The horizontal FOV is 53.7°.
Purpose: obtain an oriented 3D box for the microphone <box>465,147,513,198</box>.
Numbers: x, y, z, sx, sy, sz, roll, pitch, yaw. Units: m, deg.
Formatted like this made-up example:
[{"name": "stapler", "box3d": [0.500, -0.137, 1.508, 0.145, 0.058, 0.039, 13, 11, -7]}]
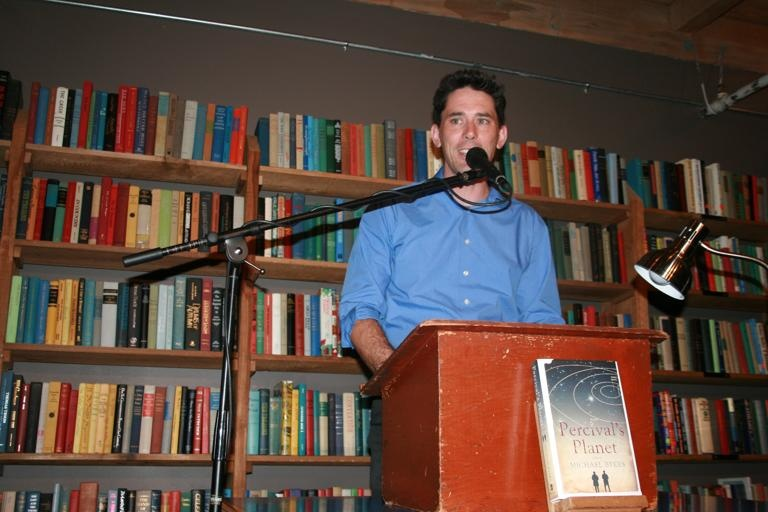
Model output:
[{"name": "microphone", "box3d": [0.433, -0.323, 3.011, 0.170, 0.210, 0.297, -5, -14, 20]}]
